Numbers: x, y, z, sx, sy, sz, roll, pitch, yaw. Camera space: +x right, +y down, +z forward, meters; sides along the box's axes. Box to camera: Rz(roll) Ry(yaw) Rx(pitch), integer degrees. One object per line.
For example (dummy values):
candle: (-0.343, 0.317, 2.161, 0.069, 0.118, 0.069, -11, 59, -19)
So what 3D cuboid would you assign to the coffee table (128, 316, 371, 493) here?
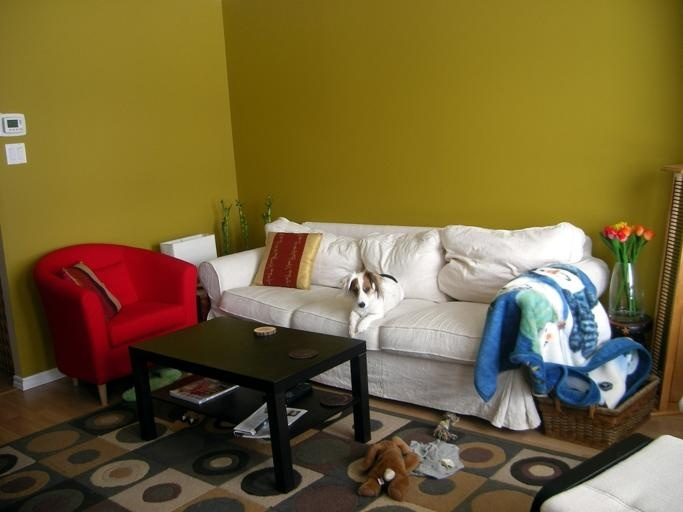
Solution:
coffee table: (-0.556, 0.809, 2.971, 1.219, 0.607, 0.778, 3, 9, 37)

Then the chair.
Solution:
chair: (-1.740, 0.476, 3.809, 0.930, 0.932, 1.023, 5, 12, 23)

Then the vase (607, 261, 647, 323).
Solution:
vase: (1.786, 0.222, 3.086, 0.217, 0.359, 0.186, 2, 16, 8)

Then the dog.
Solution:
dog: (0.219, 0.263, 3.503, 0.263, 0.380, 0.753, 5, 13, 23)

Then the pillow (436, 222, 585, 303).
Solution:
pillow: (1.169, 0.074, 3.456, 0.940, 0.567, 0.340, -1, 4, 18)

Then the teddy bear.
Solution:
teddy bear: (0.240, 1.078, 2.544, 0.286, 0.142, 0.332, 4, 17, 16)

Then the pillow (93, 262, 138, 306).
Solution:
pillow: (-1.732, 0.233, 3.908, 0.075, 0.319, 0.316, -21, 11, 31)

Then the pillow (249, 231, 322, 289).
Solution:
pillow: (-0.408, 0.014, 4.105, 0.517, 0.470, 0.155, 5, -21, 29)

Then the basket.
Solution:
basket: (1.471, 0.813, 2.847, 0.352, 0.213, 0.536, 1, 12, 42)

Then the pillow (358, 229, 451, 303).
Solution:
pillow: (0.437, 0.119, 3.870, 0.760, 0.551, 0.283, -2, 9, 39)
